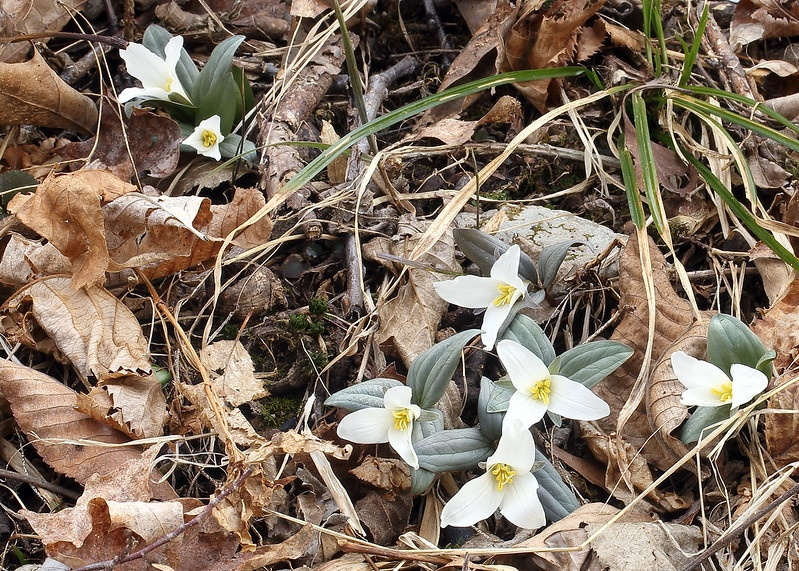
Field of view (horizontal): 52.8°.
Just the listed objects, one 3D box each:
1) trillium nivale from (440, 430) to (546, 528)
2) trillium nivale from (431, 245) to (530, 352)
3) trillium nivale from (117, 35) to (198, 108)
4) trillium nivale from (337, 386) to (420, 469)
[{"bbox_3d":[0.274,0.604,2.399,0.296,0.353,0.229,3,57,0],"label":"trillium nivale"},{"bbox_3d":[0.285,0.026,2.489,0.309,0.298,0.149,11,15,18],"label":"trillium nivale"},{"bbox_3d":[-0.882,-0.725,2.897,0.228,0.223,0.218,-7,58,-7],"label":"trillium nivale"},{"bbox_3d":[-0.040,0.398,2.415,0.239,0.251,0.100,8,50,8],"label":"trillium nivale"}]
